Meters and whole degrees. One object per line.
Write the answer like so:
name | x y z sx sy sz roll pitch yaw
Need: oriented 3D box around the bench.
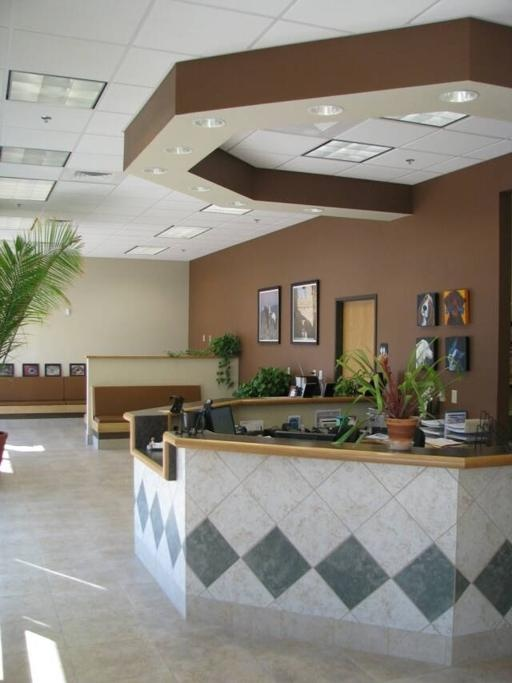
bench | -1.961 1.209 9.207 1.685 0.911 0.979 0 -3 -21

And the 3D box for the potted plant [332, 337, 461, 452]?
potted plant | 1.175 0.407 4.242 0.890 0.791 0.925 -2 -2 36
